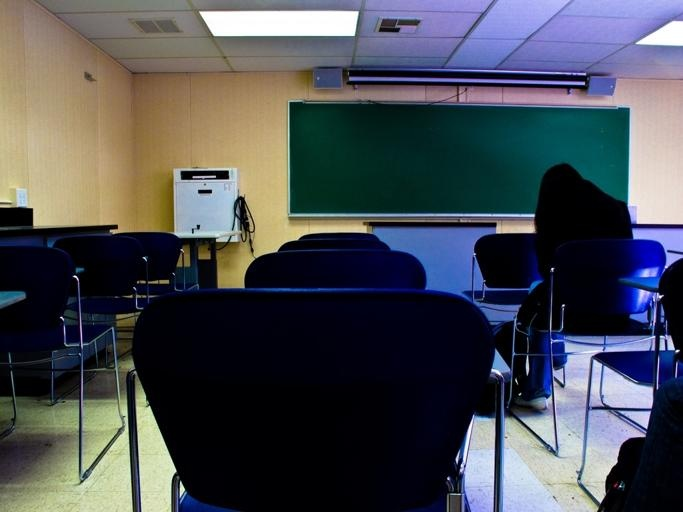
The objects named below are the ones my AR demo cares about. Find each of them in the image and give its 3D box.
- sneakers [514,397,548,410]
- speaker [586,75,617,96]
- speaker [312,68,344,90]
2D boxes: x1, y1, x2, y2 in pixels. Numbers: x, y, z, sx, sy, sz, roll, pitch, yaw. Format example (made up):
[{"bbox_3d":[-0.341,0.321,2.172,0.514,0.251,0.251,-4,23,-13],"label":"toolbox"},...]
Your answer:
[{"bbox_3d":[1.243,0.954,3.639,0.212,0.098,0.080,0,-3,34],"label":"sneakers"},{"bbox_3d":[2.899,-1.891,6.186,0.331,0.251,0.200,1,4,2],"label":"speaker"},{"bbox_3d":[-0.149,-1.944,6.048,0.308,0.216,0.098,-1,5,-4],"label":"speaker"}]
